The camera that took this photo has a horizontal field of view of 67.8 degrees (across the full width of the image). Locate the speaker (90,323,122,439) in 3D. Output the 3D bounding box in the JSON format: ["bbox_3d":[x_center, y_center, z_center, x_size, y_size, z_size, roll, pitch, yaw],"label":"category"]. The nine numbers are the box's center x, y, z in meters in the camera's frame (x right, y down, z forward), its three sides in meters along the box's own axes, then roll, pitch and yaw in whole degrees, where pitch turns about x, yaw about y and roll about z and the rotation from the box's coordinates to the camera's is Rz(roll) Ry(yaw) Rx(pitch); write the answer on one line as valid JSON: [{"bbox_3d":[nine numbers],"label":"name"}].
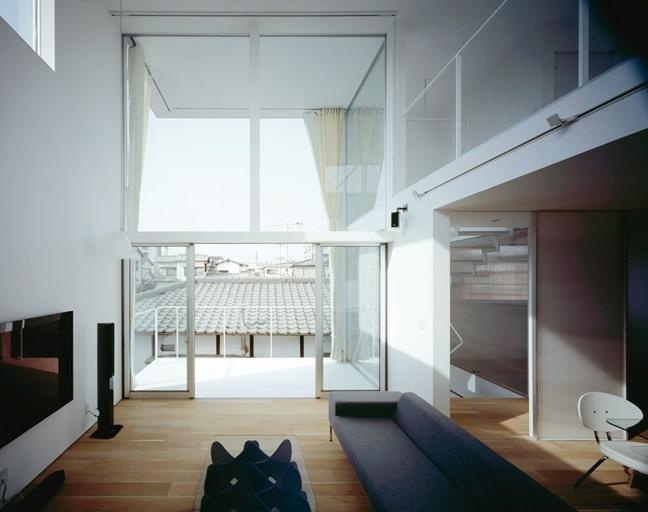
[{"bbox_3d":[-2.504,1.420,5.535,0.285,1.257,0.311,0,5,2],"label":"speaker"}]
